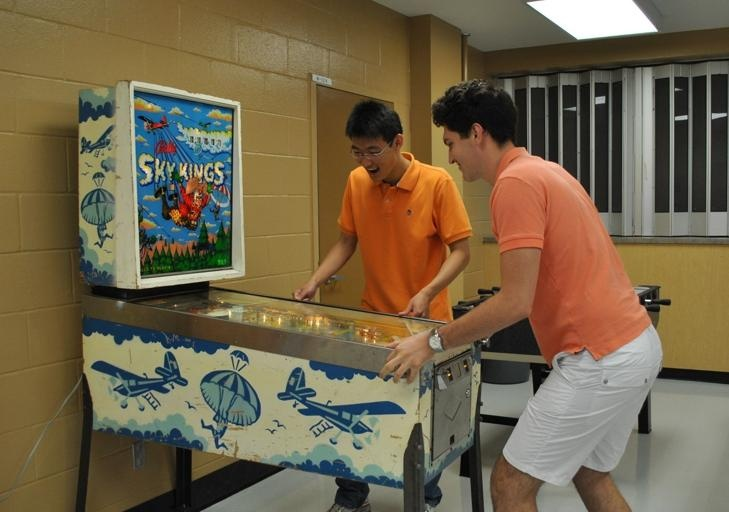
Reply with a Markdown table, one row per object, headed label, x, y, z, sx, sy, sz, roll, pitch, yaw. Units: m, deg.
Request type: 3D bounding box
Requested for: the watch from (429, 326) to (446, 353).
| label | x | y | z | sx | sy | sz | roll | pitch | yaw |
| --- | --- | --- | --- | --- | --- | --- | --- | --- | --- |
| watch | 0.283 | 0.332 | 2.480 | 0.074 | 0.083 | 0.081 | -15 | -1 | 13 |
